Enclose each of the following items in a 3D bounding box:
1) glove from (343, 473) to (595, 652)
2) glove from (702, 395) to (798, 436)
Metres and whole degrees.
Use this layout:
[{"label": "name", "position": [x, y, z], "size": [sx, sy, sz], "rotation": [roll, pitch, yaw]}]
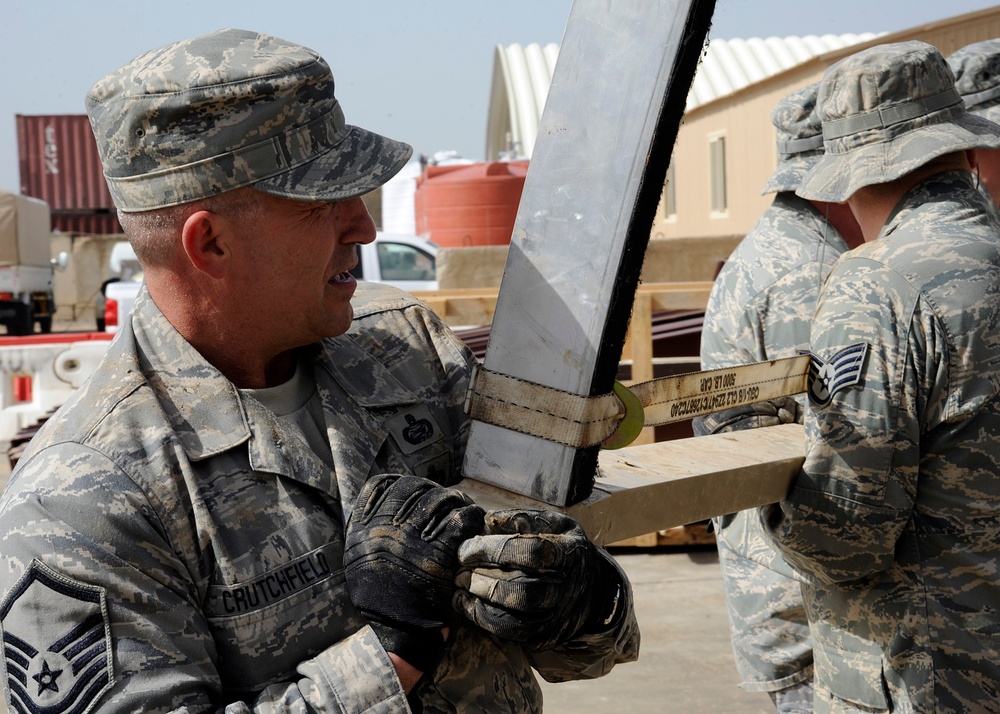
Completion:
[{"label": "glove", "position": [-0.191, 0.490, 3.125], "size": [0.333, 0.399, 0.159], "rotation": [4, 12, 23]}, {"label": "glove", "position": [0.840, 0.188, 4.399], "size": [0.208, 0.054, 0.200], "rotation": [-10, 3, 21]}]
